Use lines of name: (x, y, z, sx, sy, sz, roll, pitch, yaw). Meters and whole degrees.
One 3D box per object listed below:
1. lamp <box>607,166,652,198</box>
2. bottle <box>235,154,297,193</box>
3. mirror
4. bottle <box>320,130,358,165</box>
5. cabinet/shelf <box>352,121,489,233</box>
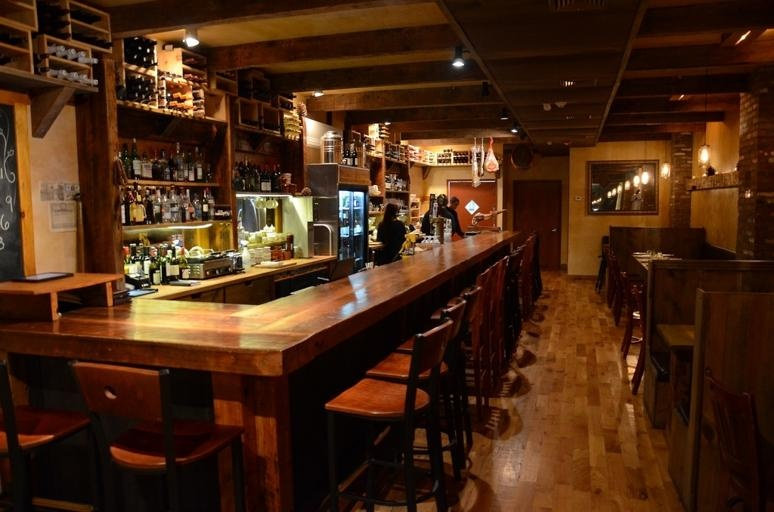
lamp: (5.229, -1.544, 12.724, 1.138, 0.515, 0.341, -25, -3, 20)
bottle: (-1.660, -1.044, 7.794, 0.308, 0.374, 1.039, -5, -3, 25)
mirror: (5.131, -1.486, 12.524, 1.205, 0.936, 0.118, 1, 2, 7)
bottle: (-0.742, -1.679, 9.155, 0.651, 0.476, 0.360, 7, 16, 11)
cabinet/shelf: (0.945, -1.614, 13.062, 2.309, 3.131, 3.335, 0, 7, 13)
